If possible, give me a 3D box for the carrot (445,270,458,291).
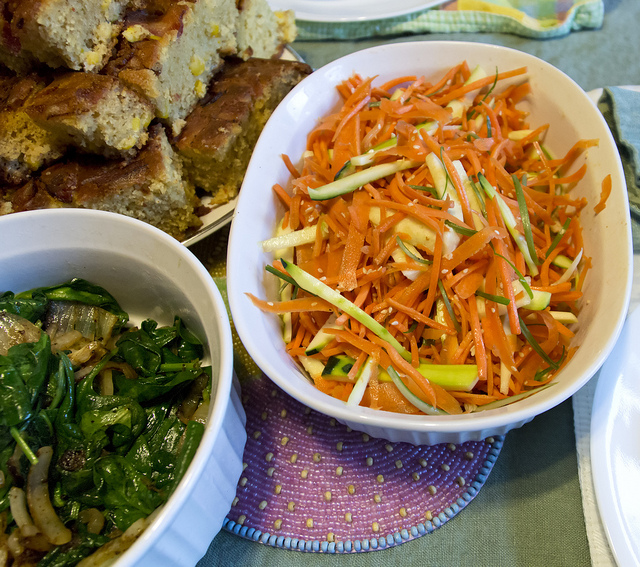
[{"bbox_3d":[0.244,-0.006,1.185,0.022,0.012,0.032,-2,84,-3],"label":"carrot"}]

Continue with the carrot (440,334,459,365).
[{"bbox_3d":[0.239,0.120,1.187,0.009,0.031,0.052,1,98,-32],"label":"carrot"}]

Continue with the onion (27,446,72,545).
[{"bbox_3d":[-0.477,0.365,1.103,0.066,0.044,0.184,5,37,-40],"label":"onion"}]

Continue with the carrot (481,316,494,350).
[{"bbox_3d":[0.303,0.085,1.168,0.011,0.044,0.048,-6,69,10],"label":"carrot"}]

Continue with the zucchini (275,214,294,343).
[{"bbox_3d":[-0.074,-0.009,1.281,0.037,0.026,0.235,3,78,-12],"label":"zucchini"}]

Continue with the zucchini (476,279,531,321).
[{"bbox_3d":[0.333,0.043,1.169,0.078,0.030,0.076,-15,70,7],"label":"zucchini"}]

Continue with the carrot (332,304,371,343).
[{"bbox_3d":[0.058,0.074,1.194,0.008,0.011,0.079,-21,73,-46],"label":"carrot"}]

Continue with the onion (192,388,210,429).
[{"bbox_3d":[-0.210,0.228,1.175,0.031,0.022,0.059,6,76,37],"label":"onion"}]

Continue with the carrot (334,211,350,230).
[{"bbox_3d":[0.040,-0.128,1.289,0.010,0.007,0.062,-47,66,31],"label":"carrot"}]

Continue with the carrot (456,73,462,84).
[{"bbox_3d":[0.311,-0.462,1.446,0.013,0.005,0.020,6,96,32],"label":"carrot"}]

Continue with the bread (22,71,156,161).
[{"bbox_3d":[-0.489,-0.327,1.449,0.102,0.281,0.168,51,42,-12],"label":"bread"}]

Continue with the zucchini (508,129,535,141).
[{"bbox_3d":[0.429,-0.319,1.368,0.034,0.009,0.035,-10,32,-6],"label":"zucchini"}]

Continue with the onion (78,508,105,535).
[{"bbox_3d":[-0.382,0.398,1.081,0.036,0.014,0.036,35,96,11],"label":"onion"}]

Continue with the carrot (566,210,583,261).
[{"bbox_3d":[0.493,-0.096,1.243,0.022,0.022,0.089,-2,79,7],"label":"carrot"}]

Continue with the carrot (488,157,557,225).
[{"bbox_3d":[0.399,-0.165,1.254,0.032,0.275,0.028,-21,56,35],"label":"carrot"}]

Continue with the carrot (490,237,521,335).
[{"bbox_3d":[0.336,-0.005,1.157,0.041,0.029,0.200,1,72,-7],"label":"carrot"}]

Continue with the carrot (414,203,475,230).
[{"bbox_3d":[0.231,-0.123,1.191,0.089,0.015,0.005,27,103,8],"label":"carrot"}]

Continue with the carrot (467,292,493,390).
[{"bbox_3d":[0.284,0.103,1.171,0.041,0.029,0.174,4,64,-9],"label":"carrot"}]

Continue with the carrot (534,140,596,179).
[{"bbox_3d":[0.497,-0.258,1.295,0.154,0.074,0.042,-19,89,-8],"label":"carrot"}]

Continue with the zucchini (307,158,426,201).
[{"bbox_3d":[0.071,-0.211,1.284,0.256,0.043,0.046,-23,93,-29],"label":"zucchini"}]

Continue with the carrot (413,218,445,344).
[{"bbox_3d":[0.213,-0.025,1.179,0.019,0.015,0.199,15,80,-27],"label":"carrot"}]

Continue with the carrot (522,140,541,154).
[{"bbox_3d":[0.452,-0.292,1.362,0.027,0.028,0.029,0,112,13],"label":"carrot"}]

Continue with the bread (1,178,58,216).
[{"bbox_3d":[-0.639,-0.194,1.381,0.108,0.037,0.109,-20,56,-14],"label":"bread"}]

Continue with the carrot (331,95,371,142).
[{"bbox_3d":[0.068,-0.350,1.372,0.032,0.026,0.132,24,72,41],"label":"carrot"}]

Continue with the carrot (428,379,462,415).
[{"bbox_3d":[0.219,0.187,1.152,0.020,0.138,0.045,37,106,2],"label":"carrot"}]

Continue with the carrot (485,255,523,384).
[{"bbox_3d":[0.326,0.075,1.159,0.042,0.030,0.282,0,72,-7],"label":"carrot"}]

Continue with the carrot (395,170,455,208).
[{"bbox_3d":[0.193,-0.181,1.232,0.067,0.021,0.085,-18,57,-14],"label":"carrot"}]

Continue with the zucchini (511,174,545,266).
[{"bbox_3d":[0.391,-0.125,1.229,0.027,0.025,0.247,-5,75,-2],"label":"zucchini"}]

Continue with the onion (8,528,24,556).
[{"bbox_3d":[-0.500,0.424,1.053,0.020,0.010,0.038,5,75,-28],"label":"onion"}]

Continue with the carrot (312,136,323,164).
[{"bbox_3d":[-0.007,-0.290,1.392,0.017,0.018,0.070,-29,49,37],"label":"carrot"}]

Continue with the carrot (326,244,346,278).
[{"bbox_3d":[0.021,-0.048,1.275,0.015,0.053,0.056,18,113,25],"label":"carrot"}]

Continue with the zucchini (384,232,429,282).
[{"bbox_3d":[0.160,-0.048,1.206,0.055,0.027,0.104,-36,80,-3],"label":"zucchini"}]

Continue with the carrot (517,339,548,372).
[{"bbox_3d":[0.381,0.135,1.182,0.013,0.052,0.053,36,32,12],"label":"carrot"}]

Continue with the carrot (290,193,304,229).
[{"bbox_3d":[-0.050,-0.150,1.316,0.016,0.018,0.070,1,72,12],"label":"carrot"}]

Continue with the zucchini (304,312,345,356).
[{"bbox_3d":[0.012,0.116,1.263,0.040,0.143,0.040,-5,97,23],"label":"zucchini"}]

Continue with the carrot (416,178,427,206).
[{"bbox_3d":[0.196,-0.177,1.246,0.011,0.032,0.045,5,109,12],"label":"carrot"}]

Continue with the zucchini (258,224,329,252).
[{"bbox_3d":[-0.053,-0.090,1.284,0.094,0.023,0.027,-19,108,-1],"label":"zucchini"}]
